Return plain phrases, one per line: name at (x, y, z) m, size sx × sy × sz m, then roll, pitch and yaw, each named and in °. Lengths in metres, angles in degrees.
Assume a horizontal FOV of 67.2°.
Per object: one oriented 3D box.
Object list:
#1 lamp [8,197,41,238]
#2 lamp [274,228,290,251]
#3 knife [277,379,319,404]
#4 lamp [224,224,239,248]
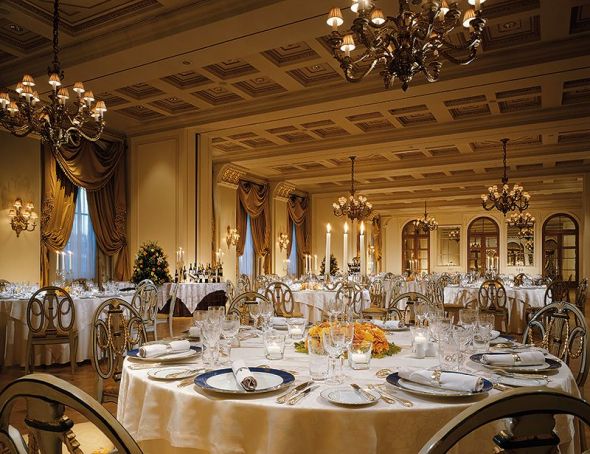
lamp at (-5.106, -0.183, 8.346) m, size 0.316 × 0.927 × 0.636 m, roll -2°, pitch -4°, yaw 23°
lamp at (-0.485, 0.459, 15.297) m, size 0.182 × 0.703 × 0.650 m, roll -2°, pitch -7°, yaw 19°
knife at (0.005, 0.774, 2.095) m, size 0.055 × 0.014 × 0.219 m, roll 14°, pitch 4°, yaw 21°
lamp at (-1.833, 0.309, 13.176) m, size 0.188 × 0.663 × 0.696 m, roll -1°, pitch -9°, yaw 19°
